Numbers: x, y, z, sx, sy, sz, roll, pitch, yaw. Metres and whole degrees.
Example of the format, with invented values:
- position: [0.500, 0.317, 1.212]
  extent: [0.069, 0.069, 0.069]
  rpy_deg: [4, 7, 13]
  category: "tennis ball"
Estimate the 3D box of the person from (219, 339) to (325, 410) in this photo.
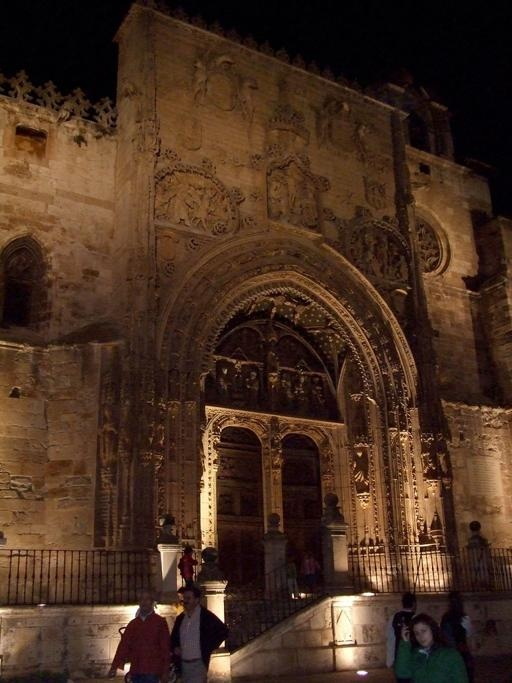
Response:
- position: [0.343, 0.978, 19.100]
  extent: [2.216, 1.179, 0.310]
  rpy_deg: [15, -34, -36]
  category: "person"
